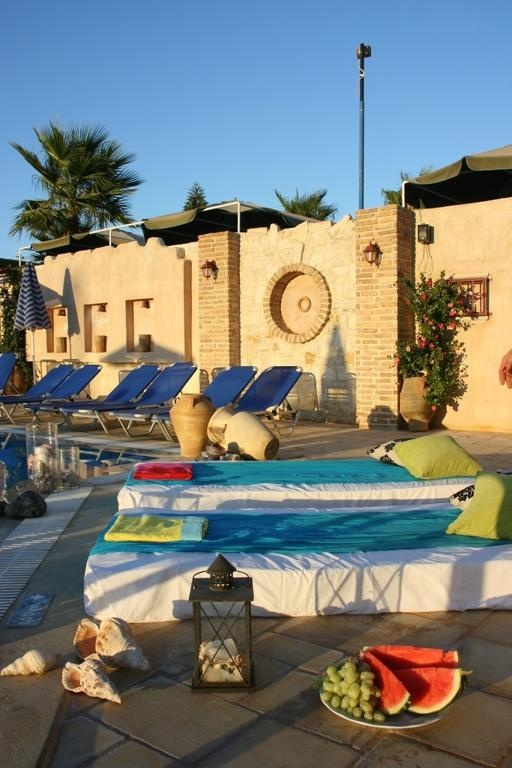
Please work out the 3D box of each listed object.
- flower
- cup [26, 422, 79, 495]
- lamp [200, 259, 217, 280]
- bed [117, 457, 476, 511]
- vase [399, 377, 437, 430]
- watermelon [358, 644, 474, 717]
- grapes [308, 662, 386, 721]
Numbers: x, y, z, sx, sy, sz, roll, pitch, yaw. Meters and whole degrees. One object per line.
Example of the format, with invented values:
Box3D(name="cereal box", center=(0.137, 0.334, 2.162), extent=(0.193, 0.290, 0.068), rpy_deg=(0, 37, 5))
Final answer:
Box3D(name="flower", center=(2.046, -0.461, 8.949), extent=(0.829, 1.613, 0.576), rpy_deg=(1, 8, 23))
Box3D(name="cup", center=(-1.502, 0.524, 5.450), extent=(0.396, 0.437, 0.410), rpy_deg=(-2, 7, 0))
Box3D(name="lamp", center=(-0.682, -1.692, 11.449), extent=(0.248, 0.390, 0.264), rpy_deg=(2, 6, 2))
Box3D(name="bed", center=(0.131, 0.578, 4.385), extent=(1.183, 0.142, 0.753), rpy_deg=(-1, 0, -7))
Box3D(name="vase", center=(1.861, 0.218, 8.963), extent=(0.395, 0.585, 0.411), rpy_deg=(-3, 2, -28))
Box3D(name="watermelon", center=(0.449, 0.817, 2.164), extent=(0.179, 0.072, 0.192), rpy_deg=(-2, 13, -10))
Box3D(name="grapes", center=(0.226, 0.851, 2.201), extent=(0.108, 0.108, 0.175), rpy_deg=(14, 21, 13))
